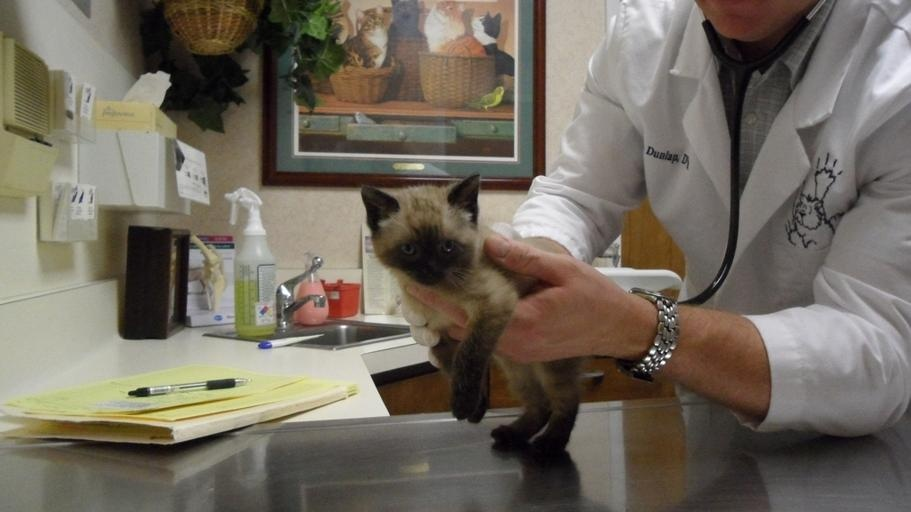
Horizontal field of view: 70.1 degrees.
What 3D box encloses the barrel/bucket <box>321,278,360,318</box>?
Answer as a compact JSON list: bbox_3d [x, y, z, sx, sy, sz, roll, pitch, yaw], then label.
[{"bbox_3d":[-0.512,0.190,2.964,0.181,0.204,0.176,-1,-3,0],"label":"barrel/bucket"}]
